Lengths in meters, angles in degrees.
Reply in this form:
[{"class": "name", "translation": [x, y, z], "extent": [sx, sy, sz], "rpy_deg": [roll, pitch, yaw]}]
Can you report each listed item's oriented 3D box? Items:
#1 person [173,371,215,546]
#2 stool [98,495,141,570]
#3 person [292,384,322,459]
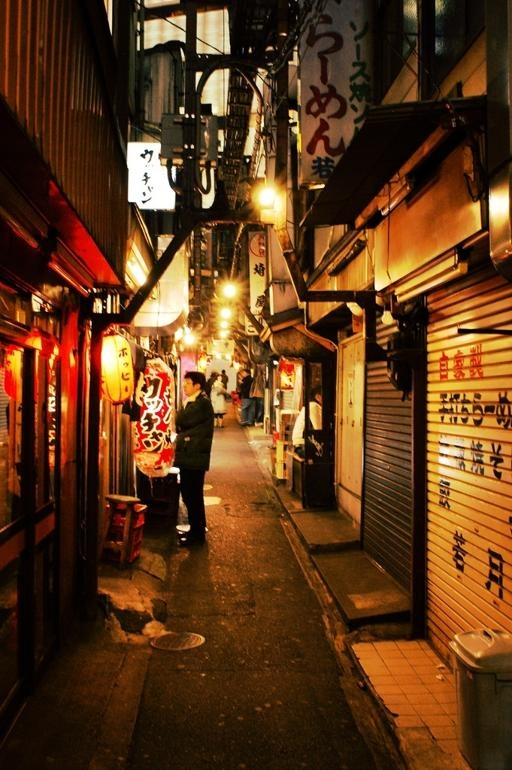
[{"class": "person", "translation": [-1.022, 1.162, 10.873], "extent": [0.587, 2.762, 0.651], "rpy_deg": [0, 0, -5]}, {"class": "stool", "translation": [-1.760, 1.928, 8.886], "extent": [0.571, 0.863, 0.399], "rpy_deg": [0, 0, -13]}, {"class": "person", "translation": [1.022, 0.727, 13.516], "extent": [0.484, 1.423, 1.078], "rpy_deg": [0, 1, -2]}]
